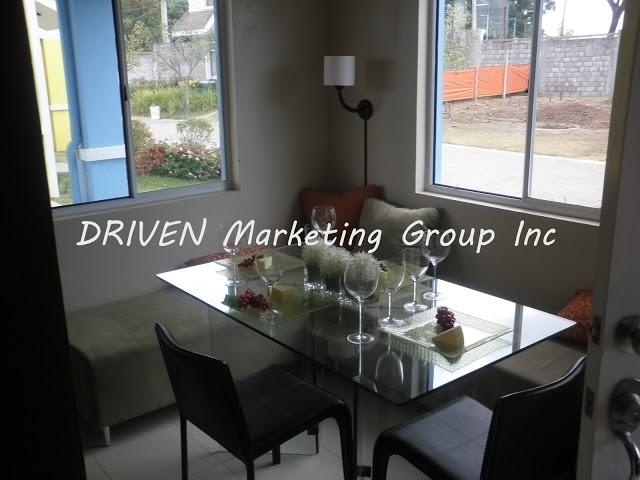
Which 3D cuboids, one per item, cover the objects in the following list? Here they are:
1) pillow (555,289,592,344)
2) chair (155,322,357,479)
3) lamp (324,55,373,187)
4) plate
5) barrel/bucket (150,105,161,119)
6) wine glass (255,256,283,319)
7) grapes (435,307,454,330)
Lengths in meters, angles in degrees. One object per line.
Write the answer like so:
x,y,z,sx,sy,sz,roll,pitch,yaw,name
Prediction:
1.399,0.431,2.562,0.205,0.215,0.099,-11,13,-2,pillow
-0.296,0.749,2.176,0.552,0.838,0.443,-19,27,-35,chair
0.253,-0.925,3.843,0.351,1.000,0.484,2,18,12,lamp
0.506,0.360,1.904,0.260,0.031,0.255,-15,22,-36,plate
-1.203,-0.929,3.544,0.077,0.125,0.082,-1,17,0,barrel/bucket
-0.214,0.200,2.099,0.115,0.291,0.122,-2,15,-2,wine glass
0.498,0.311,1.923,0.063,0.086,0.026,-3,-1,10,grapes
